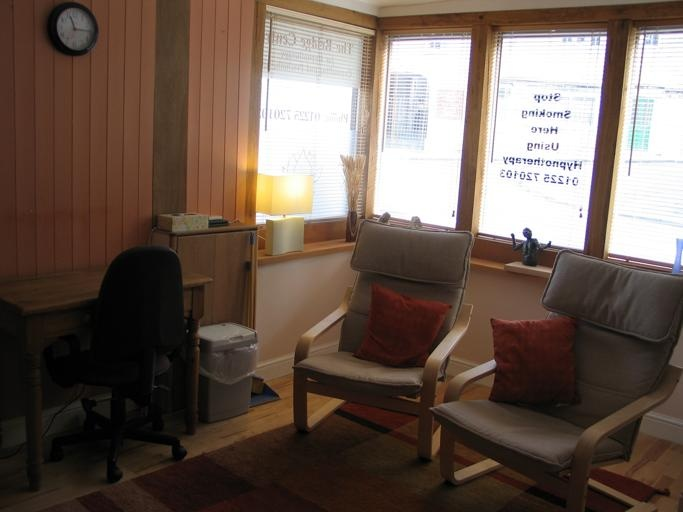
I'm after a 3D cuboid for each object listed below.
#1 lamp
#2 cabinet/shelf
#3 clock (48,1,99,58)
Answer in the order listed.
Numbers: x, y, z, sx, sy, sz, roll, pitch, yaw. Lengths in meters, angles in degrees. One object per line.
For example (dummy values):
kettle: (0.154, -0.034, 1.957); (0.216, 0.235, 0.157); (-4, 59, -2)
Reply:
lamp: (-0.454, -0.331, 4.345); (0.571, 0.790, 0.261); (-11, 19, -41)
cabinet/shelf: (-0.903, 0.109, 3.625); (0.303, 0.773, 0.619); (10, 14, 39)
clock: (-1.556, -1.296, 3.270); (0.339, 0.347, 0.052); (-9, 5, -43)
